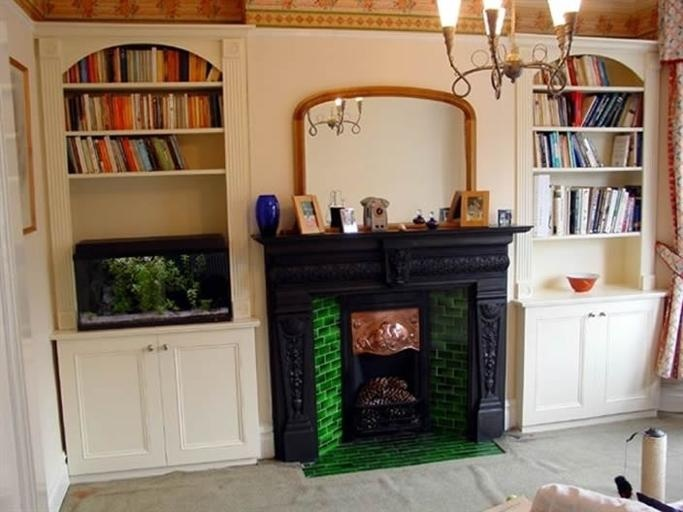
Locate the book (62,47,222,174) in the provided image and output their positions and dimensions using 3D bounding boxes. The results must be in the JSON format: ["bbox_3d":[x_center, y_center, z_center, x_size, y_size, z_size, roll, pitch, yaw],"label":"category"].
[{"bbox_3d":[-1.418,-1.061,4.113,1.105,0.880,0.369,-5,14,-14],"label":"book"}]

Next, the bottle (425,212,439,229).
[{"bbox_3d":[0.689,-0.275,4.317,0.113,0.145,0.114,-1,3,0],"label":"bottle"}]

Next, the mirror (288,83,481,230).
[{"bbox_3d":[0.260,-0.765,4.276,1.144,0.701,0.058,-1,5,-11],"label":"mirror"}]

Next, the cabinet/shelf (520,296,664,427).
[{"bbox_3d":[1.973,0.821,4.617,1.057,0.840,0.369,-2,2,-13],"label":"cabinet/shelf"}]

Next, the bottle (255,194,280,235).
[{"bbox_3d":[-0.533,-0.297,4.095,0.149,0.280,0.215,-8,15,-23],"label":"bottle"}]

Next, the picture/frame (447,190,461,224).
[{"bbox_3d":[0.865,-0.382,4.403,0.091,0.258,0.227,8,13,29],"label":"picture/frame"}]

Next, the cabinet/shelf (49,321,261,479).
[{"bbox_3d":[-1.403,1.001,4.090,1.155,0.919,0.433,-1,1,-11],"label":"cabinet/shelf"}]

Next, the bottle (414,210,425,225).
[{"bbox_3d":[0.588,-0.292,4.350,0.098,0.092,0.097,1,2,8],"label":"bottle"}]

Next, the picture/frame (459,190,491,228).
[{"bbox_3d":[1.002,-0.358,4.335,0.290,0.334,0.025,0,1,-5],"label":"picture/frame"}]

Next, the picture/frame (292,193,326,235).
[{"bbox_3d":[-0.246,-0.310,4.148,0.253,0.330,0.055,-15,-8,-32],"label":"picture/frame"}]

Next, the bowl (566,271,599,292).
[{"bbox_3d":[2.017,0.211,4.807,0.237,0.139,0.309,4,15,22],"label":"bowl"}]
